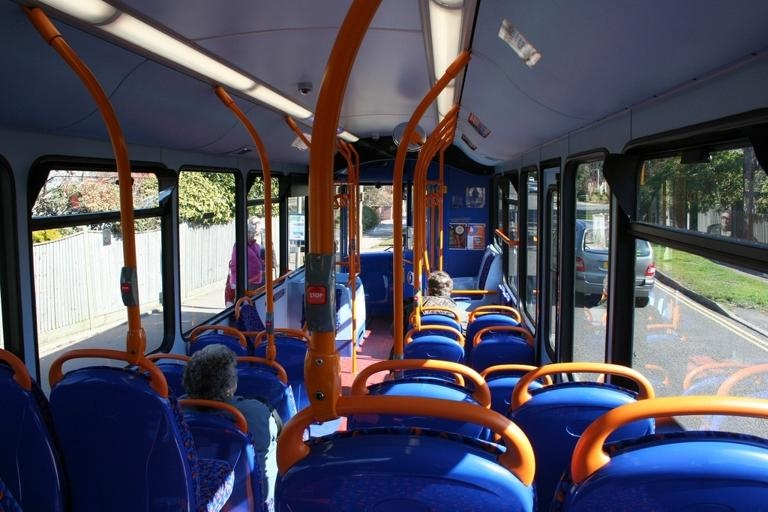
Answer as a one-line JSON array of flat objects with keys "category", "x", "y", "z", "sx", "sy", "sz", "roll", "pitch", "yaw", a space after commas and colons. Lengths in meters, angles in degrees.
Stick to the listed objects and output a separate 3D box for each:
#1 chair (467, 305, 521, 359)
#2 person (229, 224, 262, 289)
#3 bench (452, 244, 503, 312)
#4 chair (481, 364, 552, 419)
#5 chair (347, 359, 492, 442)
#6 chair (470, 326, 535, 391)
[{"category": "chair", "x": 1.169, "y": 0.958, "z": 5.485, "sx": 0.677, "sy": 0.729, "sz": 0.533, "roll": 0, "pitch": 0, "yaw": 8}, {"category": "person", "x": -2.040, "y": 0.002, "z": 7.272, "sx": 0.214, "sy": 0.977, "sz": 0.555, "roll": 3, "pitch": 4, "yaw": 31}, {"category": "bench", "x": 1.695, "y": 0.425, "z": 8.558, "sx": 0.886, "sy": 1.348, "sz": 1.327, "roll": 1, "pitch": 5, "yaw": 2}, {"category": "chair", "x": 0.722, "y": 0.740, "z": 2.667, "sx": 0.368, "sy": 0.304, "sz": 0.201, "roll": 1, "pitch": 14, "yaw": 8}, {"category": "chair", "x": 0.177, "y": 0.679, "z": 2.308, "sx": 0.505, "sy": 0.401, "sz": 0.275, "roll": 2, "pitch": -10, "yaw": 4}, {"category": "chair", "x": 1.081, "y": 0.831, "z": 4.518, "sx": 0.639, "sy": 0.615, "sz": 0.350, "roll": 2, "pitch": 15, "yaw": 12}]
